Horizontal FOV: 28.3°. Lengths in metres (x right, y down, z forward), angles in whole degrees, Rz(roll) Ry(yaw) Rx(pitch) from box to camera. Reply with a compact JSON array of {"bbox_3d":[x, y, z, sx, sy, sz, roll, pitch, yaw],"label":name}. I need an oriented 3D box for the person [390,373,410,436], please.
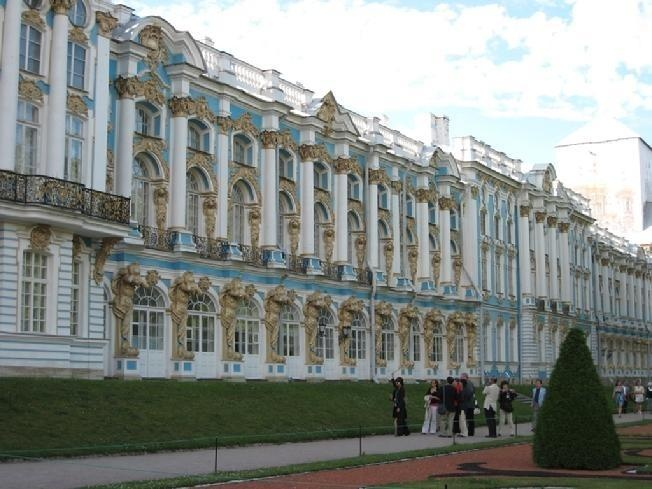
[{"bbox_3d":[2.689,5.821,46.474,0.605,2.085,0.966,-1,-11,3],"label":"person"}]
